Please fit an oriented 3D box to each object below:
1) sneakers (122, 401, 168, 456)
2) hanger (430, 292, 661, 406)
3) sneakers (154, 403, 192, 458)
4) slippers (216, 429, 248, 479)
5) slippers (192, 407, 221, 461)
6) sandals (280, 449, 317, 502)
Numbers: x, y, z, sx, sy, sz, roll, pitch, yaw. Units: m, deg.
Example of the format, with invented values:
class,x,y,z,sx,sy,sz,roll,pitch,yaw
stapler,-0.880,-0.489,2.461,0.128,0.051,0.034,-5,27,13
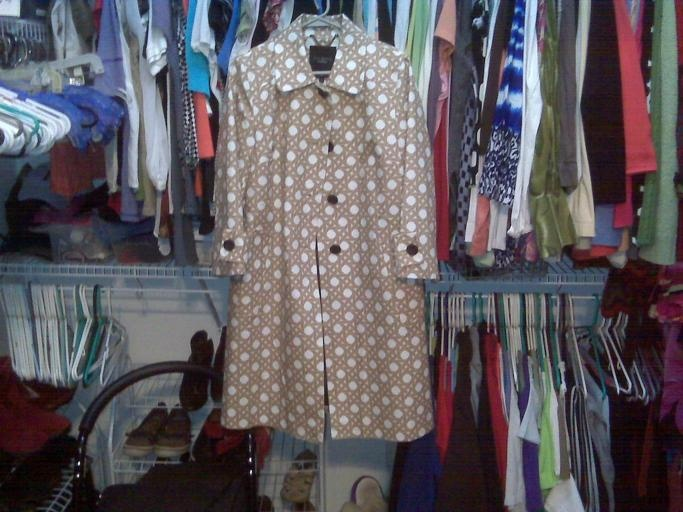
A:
class,x,y,z,sx,sy,sz,roll,pitch,yaw
sneakers,-0.665,0.575,2.265,0.073,0.078,0.229,1,19,7
hanger,0.656,0.281,2.257,0.737,0.327,0.314,1,3,6
sneakers,-0.579,0.606,2.306,0.108,0.100,0.323,5,9,-8
slippers,-0.384,0.624,2.167,0.030,0.098,0.140,-23,15,-33
slippers,-0.442,0.596,2.201,0.051,0.070,0.170,0,26,5
sandals,-0.154,0.786,2.314,0.095,0.179,0.055,3,-34,23
